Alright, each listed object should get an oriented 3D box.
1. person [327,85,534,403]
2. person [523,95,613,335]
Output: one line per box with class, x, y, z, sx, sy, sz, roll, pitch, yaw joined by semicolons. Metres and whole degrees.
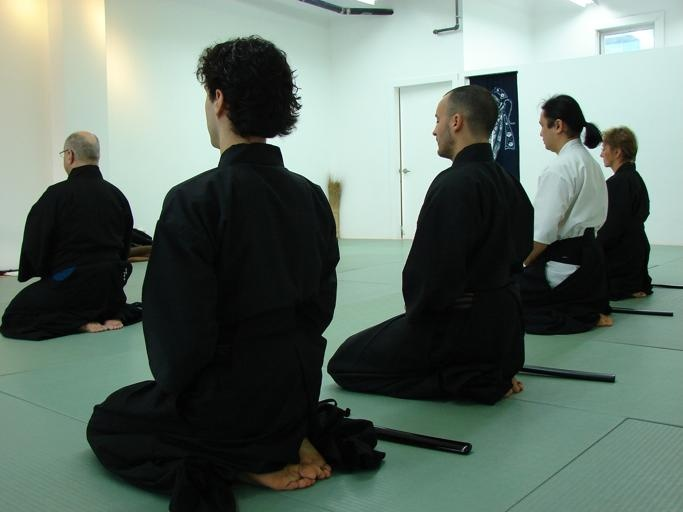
person;0.684;-0.086;3.338;1.129;2.011;1.213;5;5;37
person;1.422;-0.269;3.628;0.722;1.462;0.455;-10;13;-34
